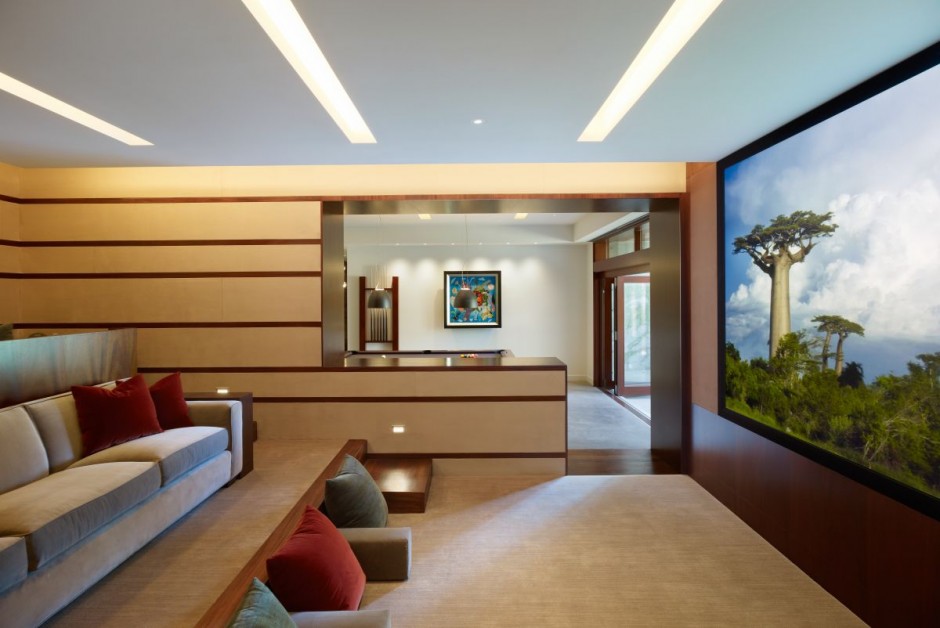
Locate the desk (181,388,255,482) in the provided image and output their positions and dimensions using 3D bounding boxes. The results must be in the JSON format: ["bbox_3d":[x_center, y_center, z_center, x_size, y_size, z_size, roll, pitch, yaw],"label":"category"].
[{"bbox_3d":[-2.126,1.067,5.303,0.690,0.696,0.652,0,-4,5],"label":"desk"}]

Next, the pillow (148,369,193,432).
[{"bbox_3d":[-2.615,0.765,5.230,0.303,0.340,0.130,-24,-12,-20],"label":"pillow"}]

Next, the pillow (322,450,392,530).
[{"bbox_3d":[-0.952,1.498,4.896,0.400,0.557,0.734,-4,4,-2],"label":"pillow"}]

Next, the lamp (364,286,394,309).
[{"bbox_3d":[-1.550,-0.271,10.229,0.361,0.247,0.364,1,-2,0],"label":"lamp"}]

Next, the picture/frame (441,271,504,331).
[{"bbox_3d":[0.018,-0.254,10.245,0.946,0.906,0.100,1,-5,-6],"label":"picture/frame"}]

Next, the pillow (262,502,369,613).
[{"bbox_3d":[-1.033,1.874,4.303,0.559,0.734,1.048,-3,2,-3],"label":"pillow"}]

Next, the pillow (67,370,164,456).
[{"bbox_3d":[-2.803,0.782,4.733,0.169,0.542,0.568,-21,-1,42],"label":"pillow"}]
